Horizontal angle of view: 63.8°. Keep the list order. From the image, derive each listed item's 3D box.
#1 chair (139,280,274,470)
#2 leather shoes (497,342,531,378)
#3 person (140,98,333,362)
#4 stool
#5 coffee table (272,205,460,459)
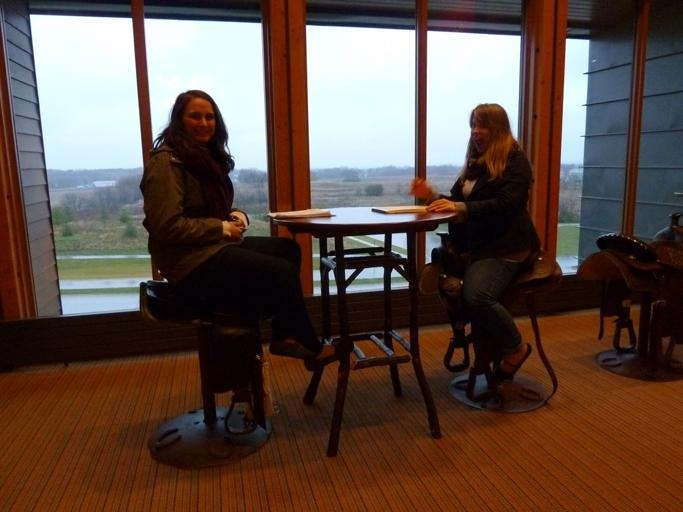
[{"bbox_3d":[-0.716,0.659,3.436,0.857,1.031,0.940,-1,7,-14],"label":"chair"},{"bbox_3d":[1.066,0.676,3.458,0.077,0.302,0.124,-11,49,-34],"label":"leather shoes"},{"bbox_3d":[-0.422,-0.267,3.965,1.455,2.284,1.016,-4,9,-10],"label":"person"},{"bbox_3d":[0.989,0.457,3.610,0.858,1.003,0.852,-13,9,-32],"label":"stool"},{"bbox_3d":[0.225,0.409,3.327,1.049,1.215,1.063,-3,2,1],"label":"coffee table"}]
